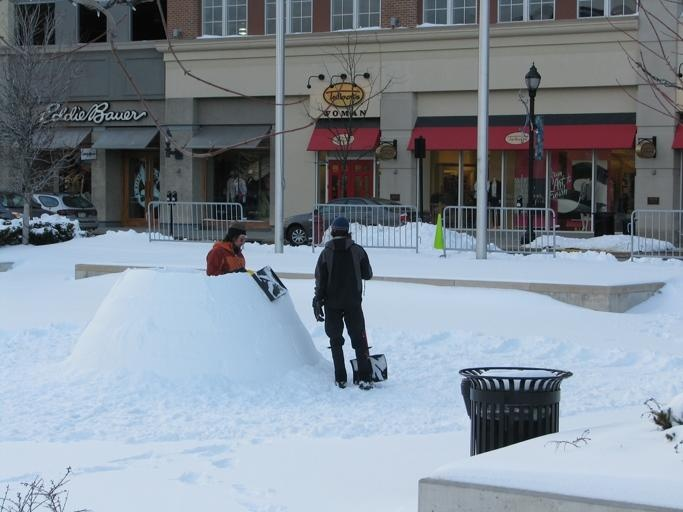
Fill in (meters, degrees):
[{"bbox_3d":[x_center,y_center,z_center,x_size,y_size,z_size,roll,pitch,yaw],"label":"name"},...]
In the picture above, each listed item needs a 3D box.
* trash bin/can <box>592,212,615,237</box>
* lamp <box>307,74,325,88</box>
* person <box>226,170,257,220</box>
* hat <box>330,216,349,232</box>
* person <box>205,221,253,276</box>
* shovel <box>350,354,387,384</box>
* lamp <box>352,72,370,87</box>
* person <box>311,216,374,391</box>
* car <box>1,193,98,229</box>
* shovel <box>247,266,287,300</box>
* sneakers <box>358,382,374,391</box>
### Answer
[{"bbox_3d":[8.367,-0.996,30.217,0.617,1.459,0.699,-1,3,13],"label":"trash bin/can"},{"bbox_3d":[-0.905,-6.270,33.982,0.539,0.696,0.379,5,14,4],"label":"lamp"},{"bbox_3d":[-3.912,-2.285,36.364,1.243,1.769,0.463,5,13,22],"label":"person"},{"bbox_3d":[-0.022,-0.468,14.837,0.181,0.243,0.247,-2,17,-37],"label":"hat"},{"bbox_3d":[-1.973,-0.127,16.256,0.682,0.793,0.584,-4,13,-11],"label":"person"},{"bbox_3d":[0.435,1.778,14.753,0.372,0.347,0.047,-1,5,-11],"label":"shovel"},{"bbox_3d":[0.742,-6.161,33.331,0.621,0.473,0.205,8,15,32],"label":"lamp"},{"bbox_3d":[0.026,0.737,14.736,0.916,2.496,0.887,-1,12,1],"label":"person"},{"bbox_3d":[-10.336,-1.282,33.486,2.900,1.301,1.533,6,3,6],"label":"car"},{"bbox_3d":[-1.180,0.466,15.104,0.119,0.555,0.526,-31,5,23],"label":"shovel"},{"bbox_3d":[0.389,2.014,14.600,0.112,0.117,0.164,-1,0,-16],"label":"sneakers"}]
